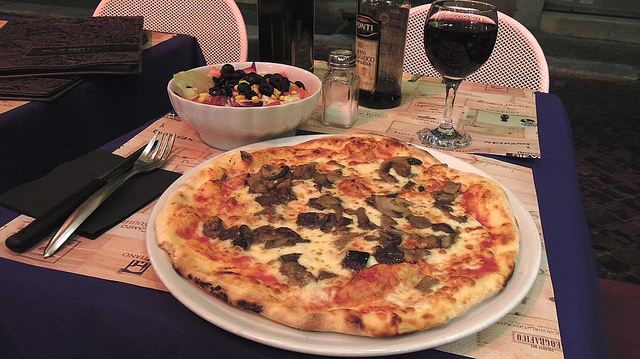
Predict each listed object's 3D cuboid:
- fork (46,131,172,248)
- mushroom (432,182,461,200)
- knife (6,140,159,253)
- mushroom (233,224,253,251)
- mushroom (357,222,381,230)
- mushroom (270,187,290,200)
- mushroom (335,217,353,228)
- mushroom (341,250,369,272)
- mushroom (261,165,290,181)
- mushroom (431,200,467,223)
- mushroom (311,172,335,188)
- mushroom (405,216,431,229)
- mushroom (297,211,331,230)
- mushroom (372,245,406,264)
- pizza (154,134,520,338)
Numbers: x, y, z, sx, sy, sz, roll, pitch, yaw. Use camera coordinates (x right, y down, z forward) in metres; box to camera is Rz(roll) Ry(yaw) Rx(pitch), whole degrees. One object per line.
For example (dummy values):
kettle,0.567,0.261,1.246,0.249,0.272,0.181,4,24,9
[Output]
fork,-0.569,-0.009,1.372,0.086,0.072,0.558,7,41,24
mushroom,0.368,0.029,1.292,0.073,0.024,0.043,-29,44,-12
knife,-0.656,0.036,1.259,0.062,0.045,0.459,25,51,18
mushroom,-0.199,0.152,1.175,0.044,0.017,0.070,10,48,6
mushroom,0.133,0.127,1.214,0.038,0.008,0.020,1,34,2
mushroom,-0.111,0.040,1.286,0.042,0.010,0.037,-2,41,-7
mushroom,0.068,0.118,1.219,0.023,0.009,0.041,33,38,30
mushroom,0.090,0.203,1.131,0.059,0.020,0.052,18,50,14
mushroom,-0.135,-0.022,1.335,0.068,0.015,0.043,-6,47,-1
mushroom,0.363,0.088,1.251,0.084,0.015,0.049,26,29,24
mushroom,0.006,0.001,1.336,0.049,0.014,0.044,-5,37,-20
mushroom,0.273,0.116,1.218,0.039,0.011,0.039,16,30,33
mushroom,-0.020,0.110,1.214,0.076,0.016,0.044,10,33,23
mushroom,0.181,0.196,1.138,0.071,0.017,0.052,-15,50,-16
pizza,0.063,0.099,1.204,0.858,0.085,0.746,28,52,22
